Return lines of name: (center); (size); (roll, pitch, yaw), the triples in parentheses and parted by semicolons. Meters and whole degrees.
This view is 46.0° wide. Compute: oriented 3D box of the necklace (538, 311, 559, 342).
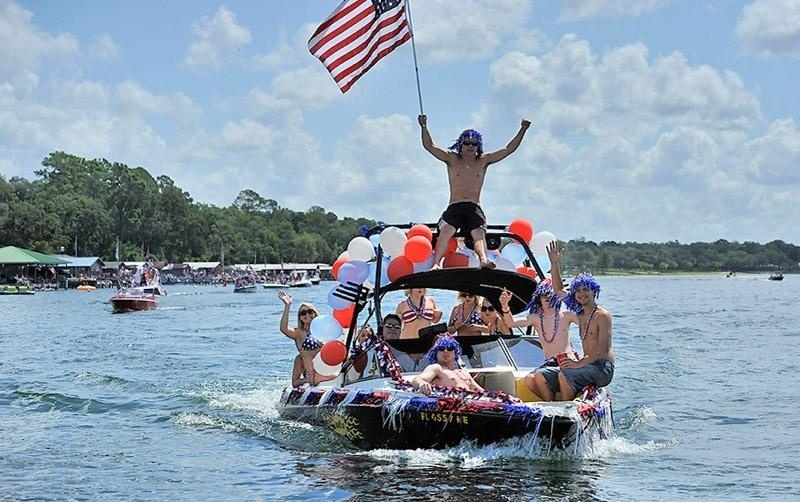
necklace: (3.245, 1.643, 20.600); (0.422, 0.661, 0.171); (-1, -3, 12)

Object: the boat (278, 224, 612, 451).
boat: (0.778, 2.108, 21.234); (4.180, 3.436, 6.981); (3, -10, -28)

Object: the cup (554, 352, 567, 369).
cup: (3.460, 2.332, 20.210); (0.247, 0.199, 0.262); (2, -35, 1)

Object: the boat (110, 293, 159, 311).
boat: (-15.200, 2.931, 53.726); (1.160, 1.145, 3.219); (1, 5, 17)
